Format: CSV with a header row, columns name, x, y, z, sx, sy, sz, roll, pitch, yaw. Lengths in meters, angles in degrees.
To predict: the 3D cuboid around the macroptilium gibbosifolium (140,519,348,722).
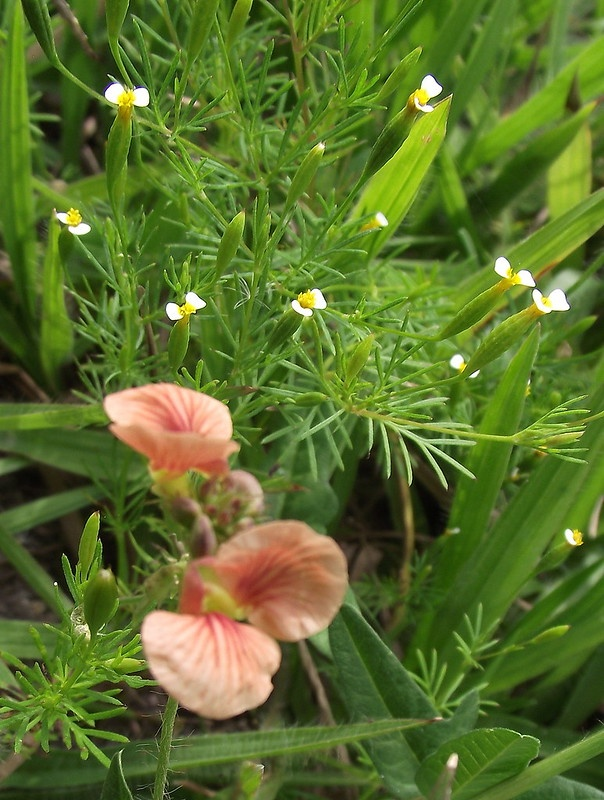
name,x,y,z,sx,sy,sz,roll,pitch,yaw
macroptilium gibbosifolium,-0.025,0.077,0.236,0.070,0.027,0.070,10,44,6
